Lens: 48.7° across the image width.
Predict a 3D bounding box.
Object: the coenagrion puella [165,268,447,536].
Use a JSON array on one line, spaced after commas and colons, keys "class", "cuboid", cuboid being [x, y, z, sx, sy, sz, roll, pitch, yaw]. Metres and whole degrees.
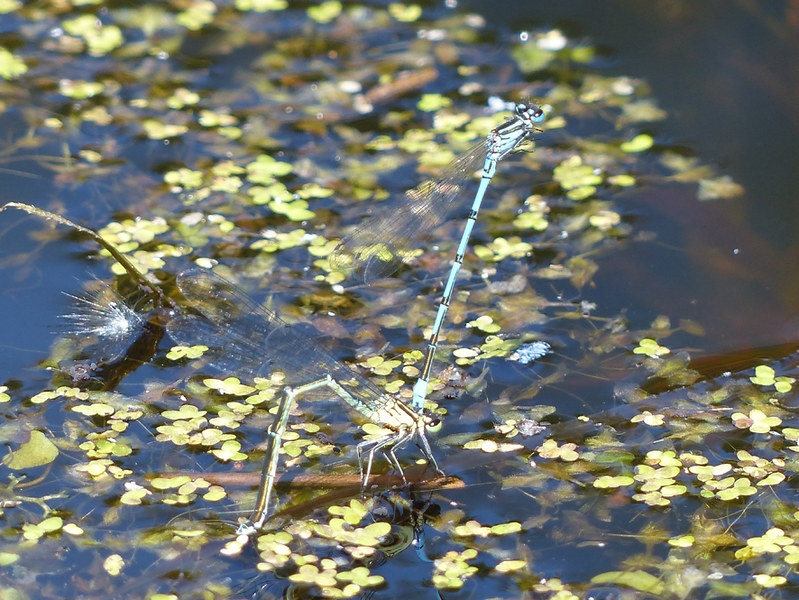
[{"class": "coenagrion puella", "cuboid": [-0.536, 0.462, 4.275, 1.649, 1.710, 1.067, 1, -68, -9]}]
